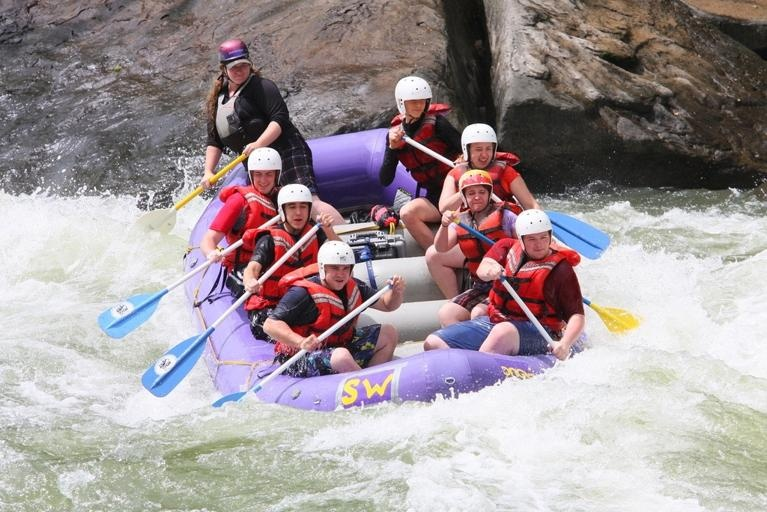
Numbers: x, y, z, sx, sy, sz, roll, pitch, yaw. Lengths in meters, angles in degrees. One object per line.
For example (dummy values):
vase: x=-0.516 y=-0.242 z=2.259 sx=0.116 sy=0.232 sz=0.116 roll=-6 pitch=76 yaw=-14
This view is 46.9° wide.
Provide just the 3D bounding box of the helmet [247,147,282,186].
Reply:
helmet: x=-1.107 y=-0.870 z=8.227 sx=0.240 sy=0.289 sz=0.305 roll=0 pitch=-4 yaw=-6

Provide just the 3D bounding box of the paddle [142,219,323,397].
paddle: x=-1.383 y=0.457 z=8.225 sx=0.345 sy=0.134 sz=2.250 roll=16 pitch=41 yaw=26

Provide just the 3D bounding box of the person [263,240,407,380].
person: x=-0.495 y=0.518 z=7.770 sx=1.168 sy=1.374 sz=1.201 roll=-4 pitch=5 yaw=33

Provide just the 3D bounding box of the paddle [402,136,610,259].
paddle: x=1.177 y=-0.580 z=8.683 sx=2.768 sy=0.445 sz=0.146 roll=31 pitch=11 yaw=13

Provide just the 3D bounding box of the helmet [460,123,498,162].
helmet: x=0.830 y=-1.040 z=8.071 sx=0.300 sy=0.313 sz=0.347 roll=-1 pitch=-3 yaw=-12

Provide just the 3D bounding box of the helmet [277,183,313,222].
helmet: x=-0.789 y=-0.473 z=7.855 sx=0.264 sy=0.330 sz=0.292 roll=2 pitch=66 yaw=-16

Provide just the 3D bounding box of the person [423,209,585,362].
person: x=1.022 y=0.376 z=7.344 sx=1.278 sy=1.463 sz=1.162 roll=2 pitch=12 yaw=-11

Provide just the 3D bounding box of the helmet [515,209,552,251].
helmet: x=1.216 y=-0.239 z=7.364 sx=0.272 sy=0.301 sz=0.333 roll=-8 pitch=6 yaw=-4

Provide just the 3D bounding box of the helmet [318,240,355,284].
helmet: x=-0.413 y=0.038 z=7.273 sx=0.261 sy=0.283 sz=0.324 roll=-4 pitch=15 yaw=-17

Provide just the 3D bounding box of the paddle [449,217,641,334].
paddle: x=1.347 y=0.197 z=7.768 sx=0.298 sy=1.689 sz=0.160 roll=-54 pitch=20 yaw=-4

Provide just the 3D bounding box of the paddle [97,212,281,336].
paddle: x=-1.879 y=0.213 z=8.593 sx=2.338 sy=0.388 sz=0.108 roll=-29 pitch=-17 yaw=-8

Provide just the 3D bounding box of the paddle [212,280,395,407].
paddle: x=-0.638 y=0.750 z=7.370 sx=1.664 sy=0.112 sz=0.234 roll=-35 pitch=64 yaw=4

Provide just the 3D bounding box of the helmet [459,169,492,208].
helmet: x=0.796 y=-0.636 z=7.788 sx=0.275 sy=0.272 sz=0.347 roll=-7 pitch=-3 yaw=-5
